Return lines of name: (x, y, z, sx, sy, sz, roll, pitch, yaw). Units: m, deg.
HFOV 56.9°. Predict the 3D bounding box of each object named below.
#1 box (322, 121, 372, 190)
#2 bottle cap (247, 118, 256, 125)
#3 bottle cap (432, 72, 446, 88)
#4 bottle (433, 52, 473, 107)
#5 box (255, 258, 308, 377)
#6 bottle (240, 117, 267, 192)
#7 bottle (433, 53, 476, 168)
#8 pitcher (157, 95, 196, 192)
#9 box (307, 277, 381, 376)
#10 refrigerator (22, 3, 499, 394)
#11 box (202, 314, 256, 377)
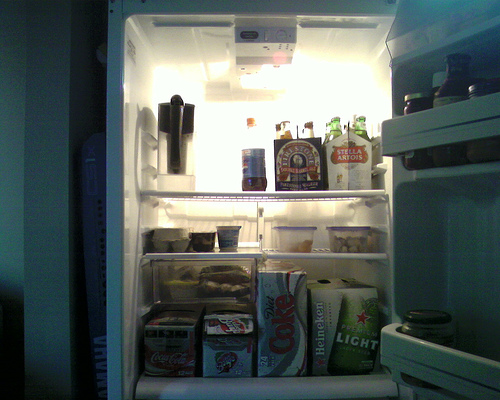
box: (0.445, -0.198, 2.177, 0.232, 0.317, 0.196, -2, 7, -9)
bottle cap: (0.005, -0.399, 2.326, 0.038, 0.021, 0.032, 1, 4, 21)
bottle cap: (0.675, -0.434, 1.652, 0.051, 0.044, 0.014, 15, 16, 33)
bottle: (0.727, -0.418, 1.626, 0.121, 0.176, 0.205, 12, 19, 40)
box: (0.151, 0.509, 2.055, 0.212, 0.474, 0.206, 3, 5, 6)
bottle: (0.015, -0.207, 2.202, 0.121, 0.363, 0.155, 1, 5, 0)
bottle: (0.697, -0.307, 1.581, 0.125, 0.386, 0.195, 0, 1, 24)
pitcher: (-0.331, -0.260, 2.148, 0.179, 0.427, 0.192, 1, 3, 8)
box: (0.414, 0.590, 2.156, 0.353, 0.393, 0.230, 2, -3, -13)
refrigerator: (0.042, -0.053, 2.090, 1.918, 1.928, 0.932, 1, 1, 25)
box: (-0.108, 0.607, 2.195, 0.255, 0.259, 0.407, 3, 22, -3)
